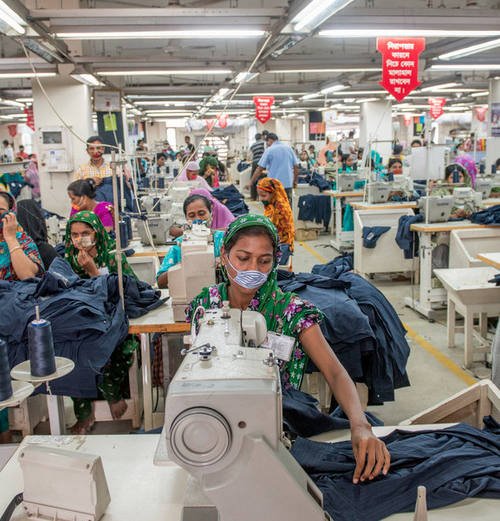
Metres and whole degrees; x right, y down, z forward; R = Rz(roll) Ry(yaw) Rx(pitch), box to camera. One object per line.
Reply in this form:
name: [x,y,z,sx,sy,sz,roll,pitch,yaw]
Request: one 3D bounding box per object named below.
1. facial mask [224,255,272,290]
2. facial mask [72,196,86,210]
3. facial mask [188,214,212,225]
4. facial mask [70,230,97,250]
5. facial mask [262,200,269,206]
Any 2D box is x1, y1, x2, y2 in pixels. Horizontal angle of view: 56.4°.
facial mask: [0.009,0.039,1.574,0.165,0.091,0.096,0,10,-8]
facial mask: [-1.829,-0.628,4.992,0.157,0.140,0.093,7,-14,-37]
facial mask: [-0.442,-0.368,4.095,0.221,0.070,0.215,-2,0,-3]
facial mask: [-1.131,-0.136,3.150,0.135,0.081,0.124,-1,5,6]
facial mask: [0.189,-0.691,5.559,0.089,0.072,0.030,2,-4,-32]
